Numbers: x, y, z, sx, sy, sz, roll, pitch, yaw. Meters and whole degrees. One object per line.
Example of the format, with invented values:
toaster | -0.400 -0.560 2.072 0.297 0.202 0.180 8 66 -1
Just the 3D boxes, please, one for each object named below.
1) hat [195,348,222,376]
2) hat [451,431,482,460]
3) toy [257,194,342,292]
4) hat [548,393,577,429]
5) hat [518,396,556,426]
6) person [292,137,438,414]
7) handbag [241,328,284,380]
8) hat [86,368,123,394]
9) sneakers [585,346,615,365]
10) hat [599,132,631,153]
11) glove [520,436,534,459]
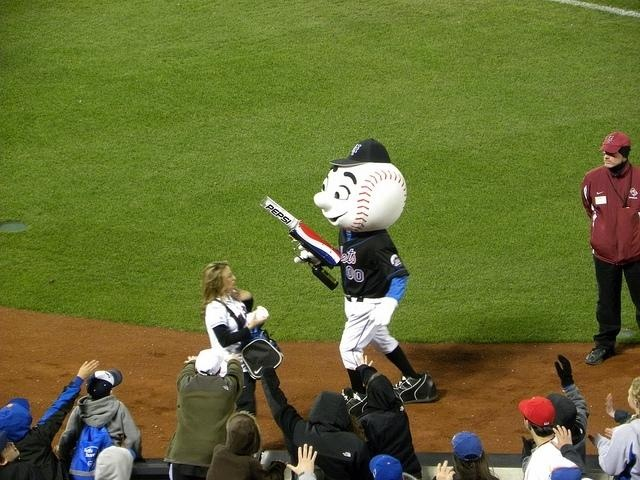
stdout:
hat | -1.174 1.312 10.164 0.281 0.303 0.417 5 -11 -7
hat | 1.405 2.008 9.367 0.210 0.169 0.291 -5 26 -4
toy | -0.282 0.140 13.405 1.693 0.691 0.385 41 10 -3
hat | 2.446 1.718 9.646 0.220 0.347 0.347 2 -24 17
hat | 2.157 1.659 9.547 0.298 0.233 0.411 -4 29 -11
person | 0.633 0.370 11.171 1.409 2.950 0.790 11 -13 -37
handbag | -0.623 1.225 10.304 0.387 0.558 0.788 7 -12 -20
hat | -2.226 1.493 10.052 0.367 0.230 0.192 10 -13 -31
sneakers | 3.542 1.451 12.216 0.433 0.186 0.162 -17 25 -31
hat | 3.645 -1.178 11.760 0.412 0.228 0.280 -7 12 -27
glove | 2.097 2.135 9.745 0.113 0.221 0.399 1 -11 13
